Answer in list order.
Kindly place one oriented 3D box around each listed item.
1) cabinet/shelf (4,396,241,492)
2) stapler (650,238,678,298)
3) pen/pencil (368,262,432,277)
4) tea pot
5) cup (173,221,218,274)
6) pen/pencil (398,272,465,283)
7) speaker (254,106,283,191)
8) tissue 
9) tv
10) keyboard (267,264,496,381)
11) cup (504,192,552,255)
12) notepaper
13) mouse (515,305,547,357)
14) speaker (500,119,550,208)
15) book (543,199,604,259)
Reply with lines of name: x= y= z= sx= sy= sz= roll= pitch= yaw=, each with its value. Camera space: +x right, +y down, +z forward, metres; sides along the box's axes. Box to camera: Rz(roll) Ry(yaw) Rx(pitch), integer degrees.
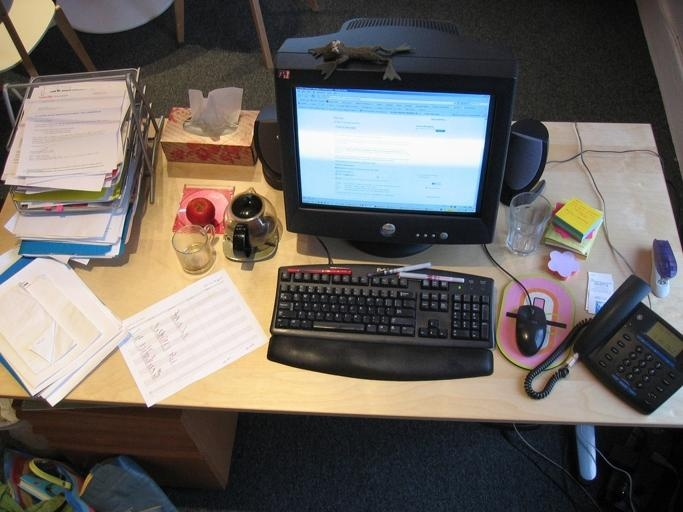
cabinet/shelf: x=-0.780 y=0.567 z=2.067 sx=0.714 sy=0.693 sz=0.419 roll=2 pitch=82 yaw=-9
stapler: x=0.959 y=0.037 z=1.709 sx=0.056 sy=0.084 sz=0.215 roll=2 pitch=84 yaw=11
pen/pencil: x=0.177 y=0.042 z=1.714 sx=0.128 sy=0.019 sz=0.017 roll=-9 pitch=104 yaw=-3
tea pot: x=-0.278 y=-0.085 z=1.755 sx=0.145 sy=0.143 sz=0.226 roll=2 pitch=77 yaw=0
cup: x=-0.450 y=-0.021 z=1.821 sx=0.142 sy=0.146 sz=0.159 roll=-9 pitch=48 yaw=-5
pen/pencil: x=0.266 y=0.065 z=1.686 sx=0.136 sy=0.015 sz=0.021 roll=7 pitch=93 yaw=9
speaker: x=-0.244 y=-0.373 z=1.897 sx=0.163 sy=0.218 sz=0.183 roll=-7 pitch=49 yaw=-6
tissue : x=-0.459 y=-0.413 z=2.062 sx=0.390 sy=0.289 sz=0.246 roll=2 pitch=62 yaw=-3
tv: x=0.140 y=-0.325 z=1.896 sx=0.763 sy=0.802 sz=0.627 roll=3 pitch=54 yaw=5
keyboard: x=0.117 y=0.192 z=1.654 sx=0.641 sy=0.104 sz=0.309 roll=3 pitch=55 yaw=5
cup: x=0.567 y=-0.085 z=1.857 sx=0.156 sy=0.200 sz=0.195 roll=11 pitch=61 yaw=13
notepaper: x=0.721 y=-0.088 z=1.764 sx=0.160 sy=0.045 sz=0.173 roll=17 pitch=75 yaw=12
mouse: x=0.547 y=0.213 z=1.628 sx=0.095 sy=0.060 sz=0.134 roll=5 pitch=55 yaw=7
speaker: x=0.572 y=-0.287 z=1.770 sx=0.158 sy=0.244 sz=0.085 roll=10 pitch=25 yaw=10
book: x=0.723 y=-0.088 z=1.763 sx=0.159 sy=0.047 sz=0.173 roll=16 pitch=75 yaw=12
